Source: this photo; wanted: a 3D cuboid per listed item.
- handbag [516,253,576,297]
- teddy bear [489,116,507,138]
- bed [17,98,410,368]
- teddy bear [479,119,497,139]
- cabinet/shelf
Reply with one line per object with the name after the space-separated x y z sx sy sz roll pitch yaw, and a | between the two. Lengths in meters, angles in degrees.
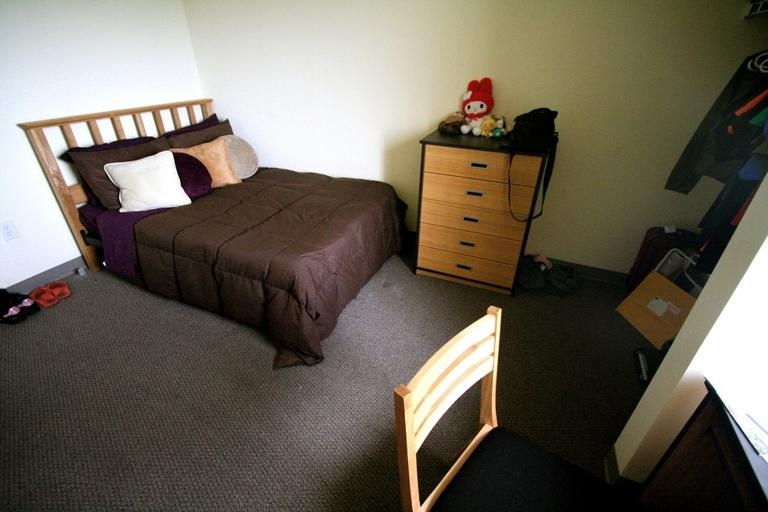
1.310 0.168 4.321 0.419 0.154 0.328 13 44 20 | handbag
0.879 -0.999 4.097 0.092 0.134 0.136 22 63 44 | teddy bear
-1.207 -0.455 4.521 2.517 1.299 2.042 12 30 17 | bed
0.808 -0.987 4.092 0.103 0.125 0.080 29 40 35 | teddy bear
0.776 -0.367 4.397 0.950 1.188 0.619 13 25 18 | cabinet/shelf
